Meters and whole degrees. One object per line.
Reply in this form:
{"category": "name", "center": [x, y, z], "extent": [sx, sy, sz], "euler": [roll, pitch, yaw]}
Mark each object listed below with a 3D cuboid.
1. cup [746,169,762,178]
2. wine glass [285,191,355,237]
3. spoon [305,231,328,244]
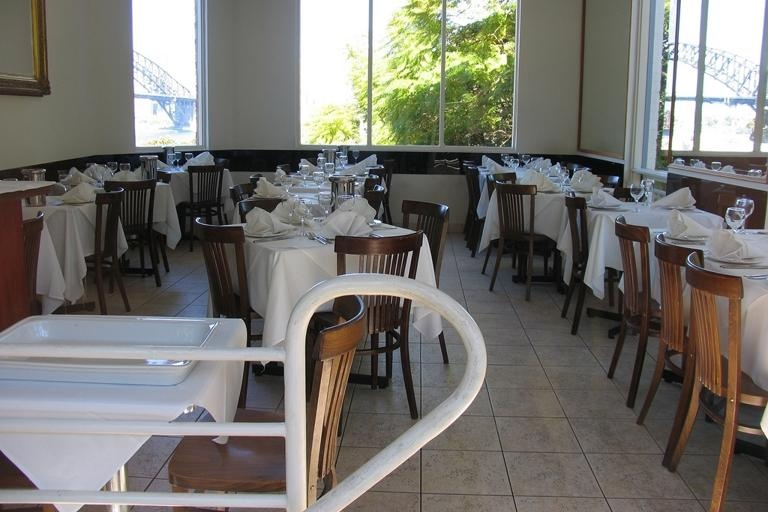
{"category": "cup", "center": [2.984, -0.672, 4.292], "extent": [0.087, 0.047, 0.128], "euler": [3, 1, 19]}
{"category": "wine glass", "center": [-0.401, -0.254, 3.499], "extent": [0.376, 0.136, 0.377], "euler": [-4, 22, -31]}
{"category": "spoon", "center": [-0.454, -0.116, 3.453], "extent": [0.060, 0.052, 0.355], "euler": [-32, 17, -19]}
